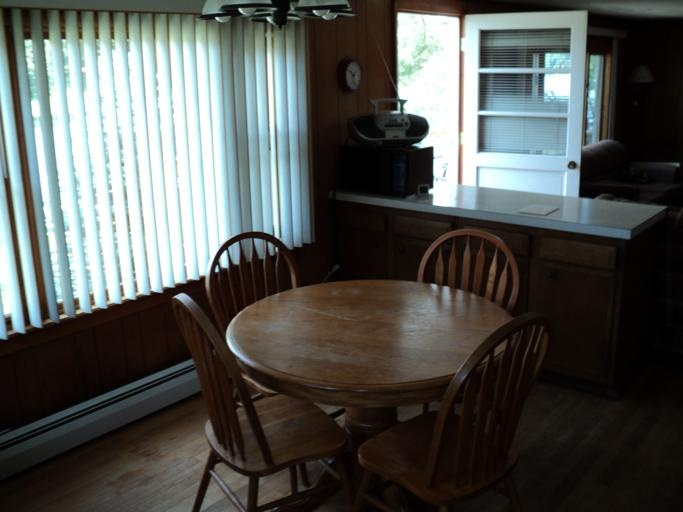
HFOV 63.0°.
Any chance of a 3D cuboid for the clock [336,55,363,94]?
[{"bbox_3d":[0.065,-1.333,4.064,0.252,0.253,0.073,-17,23,-41],"label":"clock"}]
